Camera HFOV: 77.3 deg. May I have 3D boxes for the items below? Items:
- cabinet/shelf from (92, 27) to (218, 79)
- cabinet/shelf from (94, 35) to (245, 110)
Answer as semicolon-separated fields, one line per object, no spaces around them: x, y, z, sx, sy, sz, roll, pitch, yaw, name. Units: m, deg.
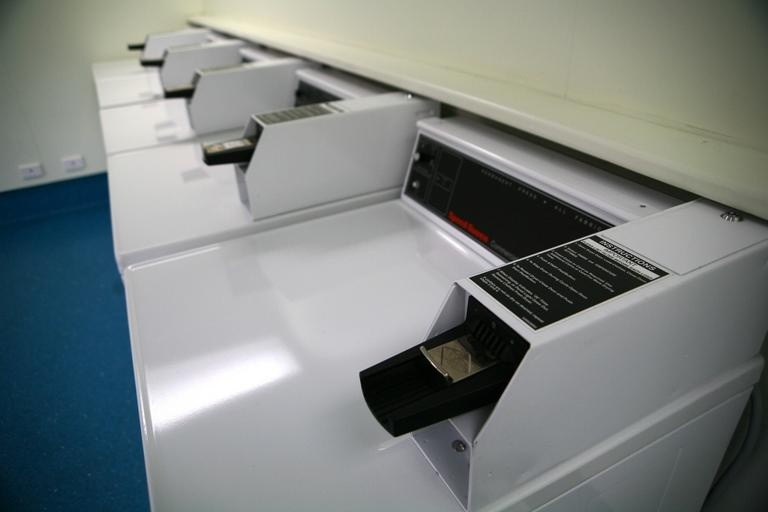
-1.622;-1.460;3.398;1.000;0.246;0.699;-14;36;-19;cabinet/shelf
-1.267;-1.092;2.843;0.836;0.199;0.774;-13;31;-18;cabinet/shelf
